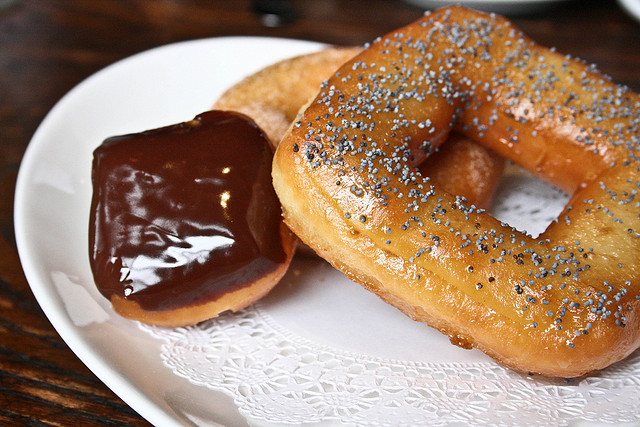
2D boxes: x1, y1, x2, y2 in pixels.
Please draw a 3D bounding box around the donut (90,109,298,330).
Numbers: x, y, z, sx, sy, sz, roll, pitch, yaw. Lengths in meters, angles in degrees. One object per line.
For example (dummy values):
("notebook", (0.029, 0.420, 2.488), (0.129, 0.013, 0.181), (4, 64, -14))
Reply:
("donut", (-0.316, 0.008, 1.586), (0.478, 0.203, 0.491), (-14, 63, -7))
